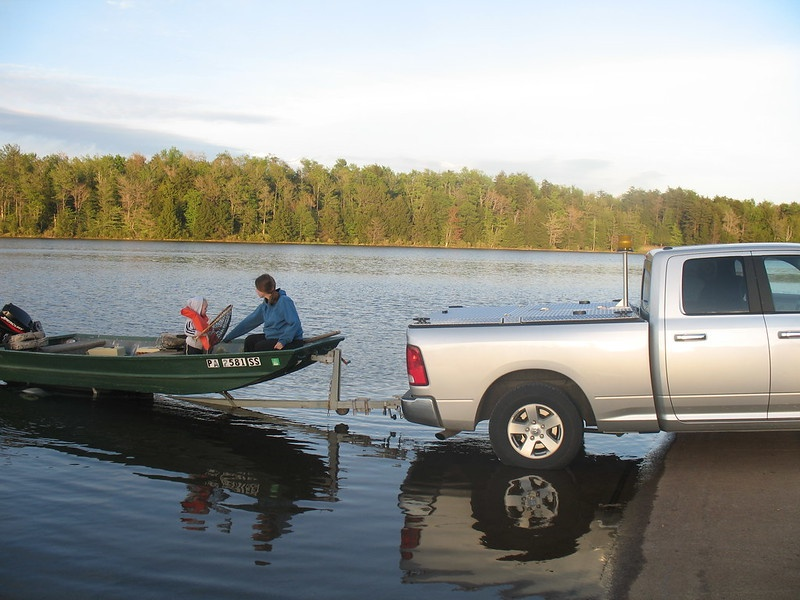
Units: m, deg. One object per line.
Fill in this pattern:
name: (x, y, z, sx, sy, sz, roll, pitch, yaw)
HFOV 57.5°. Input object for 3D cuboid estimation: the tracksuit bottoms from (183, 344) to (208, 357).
tracksuit bottoms: (-3.036, 0.743, 10.715, 0.221, 0.153, 0.175, 10, 13, 0)

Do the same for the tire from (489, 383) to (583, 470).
tire: (1.440, 1.304, 7.718, 1.346, 0.900, 0.384, 2, 12, 9)

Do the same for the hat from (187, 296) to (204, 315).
hat: (-2.980, 0.072, 10.627, 0.222, 0.226, 0.226, -1, 7, -14)

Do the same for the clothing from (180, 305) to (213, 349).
clothing: (-2.991, 0.427, 10.732, 0.399, 0.710, 0.350, -1, 7, -13)

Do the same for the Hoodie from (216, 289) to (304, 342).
Hoodie: (-1.895, 0.242, 10.265, 1.162, 0.525, 0.773, -8, 9, -14)
